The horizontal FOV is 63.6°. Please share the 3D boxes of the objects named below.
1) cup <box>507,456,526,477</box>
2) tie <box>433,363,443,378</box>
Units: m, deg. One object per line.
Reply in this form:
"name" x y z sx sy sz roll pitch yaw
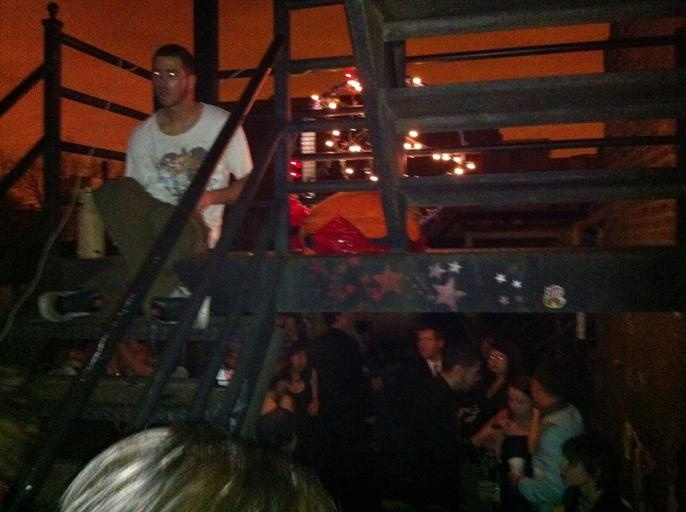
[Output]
"cup" 1.203 1.464 3.819 0.138 0.100 0.127 4 -8 1
"tie" 0.713 0.856 4.122 0.019 0.067 0.073 8 10 -28
